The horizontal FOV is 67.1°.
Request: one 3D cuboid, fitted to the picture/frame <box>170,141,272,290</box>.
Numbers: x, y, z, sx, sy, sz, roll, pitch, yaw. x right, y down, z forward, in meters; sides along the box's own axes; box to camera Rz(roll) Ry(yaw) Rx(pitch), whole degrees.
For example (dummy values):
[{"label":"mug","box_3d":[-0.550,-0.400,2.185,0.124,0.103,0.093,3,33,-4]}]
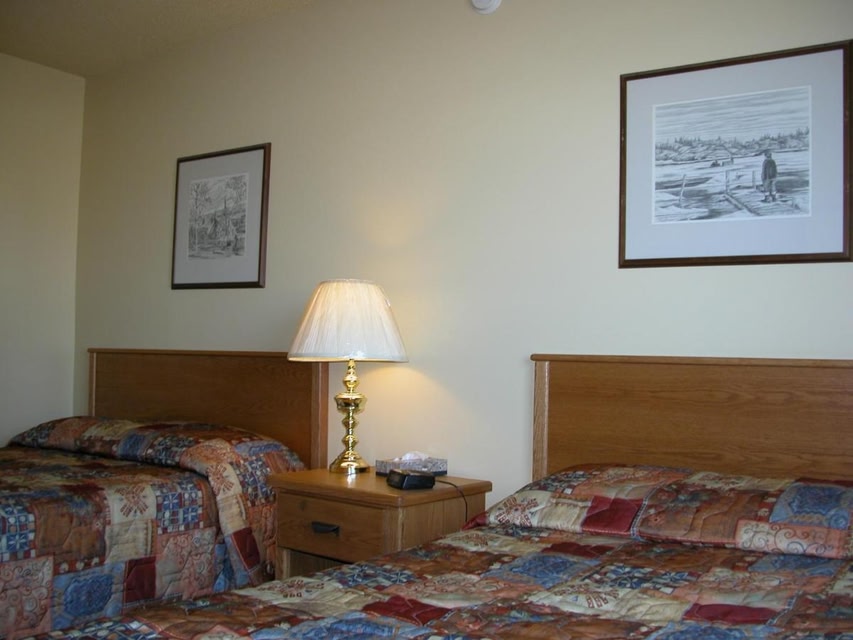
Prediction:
[{"label":"picture/frame","box_3d":[-1.095,-0.558,3.502,0.877,0.852,0.034,-2,-5,36]}]
